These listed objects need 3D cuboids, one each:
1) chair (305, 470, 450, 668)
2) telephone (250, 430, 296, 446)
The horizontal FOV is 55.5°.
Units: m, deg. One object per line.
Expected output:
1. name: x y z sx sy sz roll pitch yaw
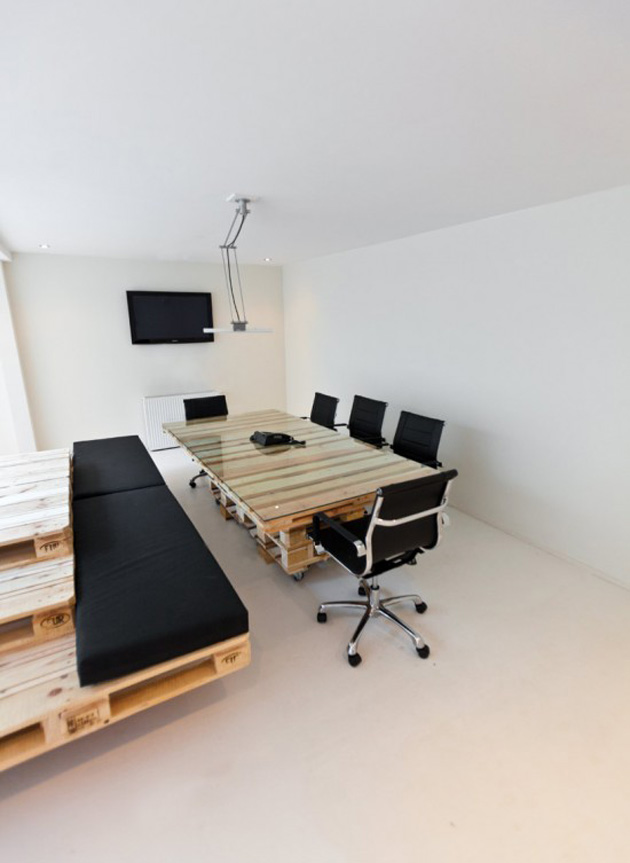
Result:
1. chair: 0.298 0.579 2.949 0.605 0.893 0.671 -8 17 -27
2. telephone: -0.278 0.047 4.074 0.186 0.066 0.136 -7 19 -30
